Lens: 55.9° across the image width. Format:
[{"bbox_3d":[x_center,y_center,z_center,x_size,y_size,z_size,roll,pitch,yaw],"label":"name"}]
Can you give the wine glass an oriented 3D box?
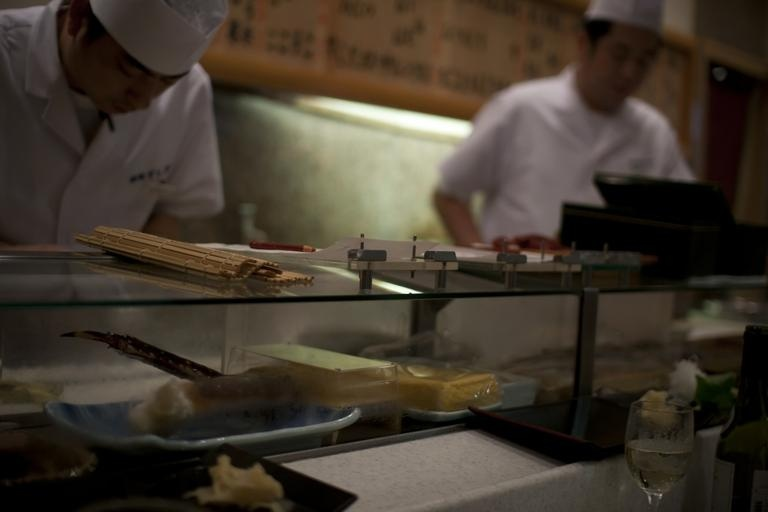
[{"bbox_3d":[0.537,0.388,1.420,0.126,0.173,0.081,7,13,12],"label":"wine glass"}]
